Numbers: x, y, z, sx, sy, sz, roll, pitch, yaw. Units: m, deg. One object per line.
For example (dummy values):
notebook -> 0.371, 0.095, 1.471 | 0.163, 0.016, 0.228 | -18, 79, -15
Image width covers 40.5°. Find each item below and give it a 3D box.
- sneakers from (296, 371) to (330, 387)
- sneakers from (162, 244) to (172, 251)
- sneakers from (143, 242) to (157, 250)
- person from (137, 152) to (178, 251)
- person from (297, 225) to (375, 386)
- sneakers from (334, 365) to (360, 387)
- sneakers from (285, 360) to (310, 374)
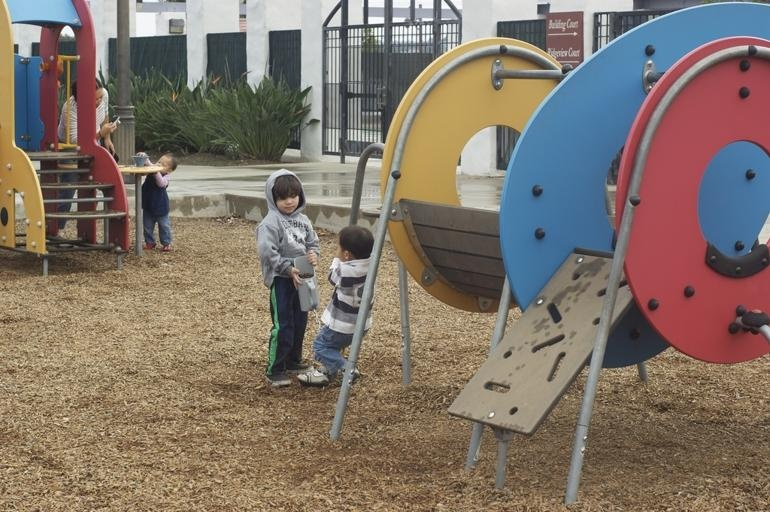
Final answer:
sneakers -> -0.454, 0.779, 6.654 | 0.206, 0.106, 0.087 | 8, 17, -4
sneakers -> -2.252, -0.091, 10.676 | 0.042, 0.054, 0.121 | -3, -5, -2
sneakers -> -2.435, -0.112, 10.787 | 0.048, 0.077, 0.153 | -3, -10, 24
person -> -2.339, -0.554, 10.650 | 0.312, 0.970, 0.529 | -6, 13, -37
person -> -0.302, 0.324, 6.523 | 0.448, 1.044, 0.195 | 1, 10, -2
sneakers -> -0.237, 0.769, 6.622 | 0.137, 0.193, 0.167 | 4, 47, -6
sneakers -> -0.573, 0.731, 6.870 | 0.157, 0.082, 0.065 | -8, 7, 1
